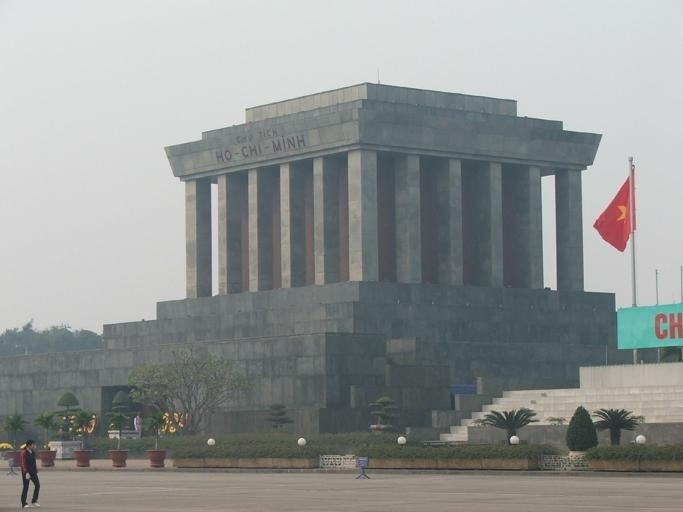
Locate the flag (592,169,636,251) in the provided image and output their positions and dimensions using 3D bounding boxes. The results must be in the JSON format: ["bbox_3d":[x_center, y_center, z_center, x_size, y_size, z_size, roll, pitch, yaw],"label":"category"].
[{"bbox_3d":[16.004,-2.984,117.299,1.991,4.608,1.643,0,6,7],"label":"flag"}]

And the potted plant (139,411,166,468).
[{"bbox_3d":[-10.644,10.374,117.900,1.695,3.558,1.634,-8,-12,33],"label":"potted plant"}]

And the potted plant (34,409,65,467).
[{"bbox_3d":[-17.216,10.625,119.260,1.572,3.327,1.632,-5,-8,27],"label":"potted plant"}]

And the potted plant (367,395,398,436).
[{"bbox_3d":[2.942,9.218,120.719,2.103,2.235,1.946,3,-11,-12],"label":"potted plant"}]
